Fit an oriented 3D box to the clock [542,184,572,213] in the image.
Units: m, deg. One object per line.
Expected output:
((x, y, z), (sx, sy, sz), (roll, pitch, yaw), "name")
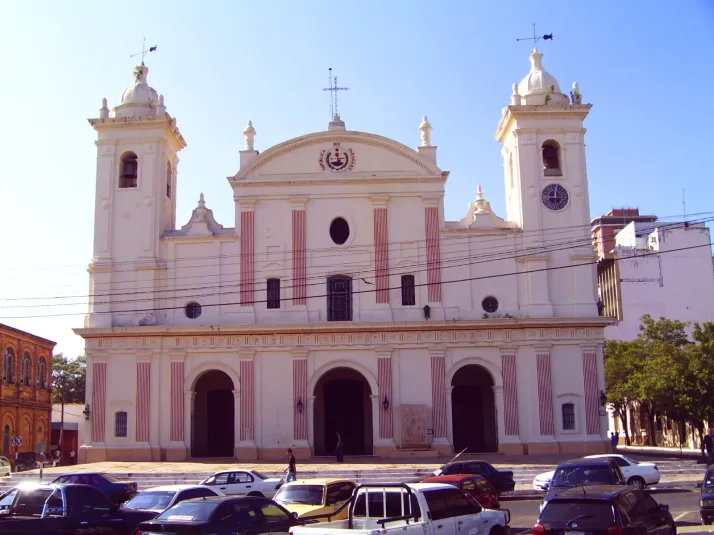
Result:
((11.797, -4.106, 54.975), (1.561, 1.903, 0.226), (4, -18, 2), "clock")
